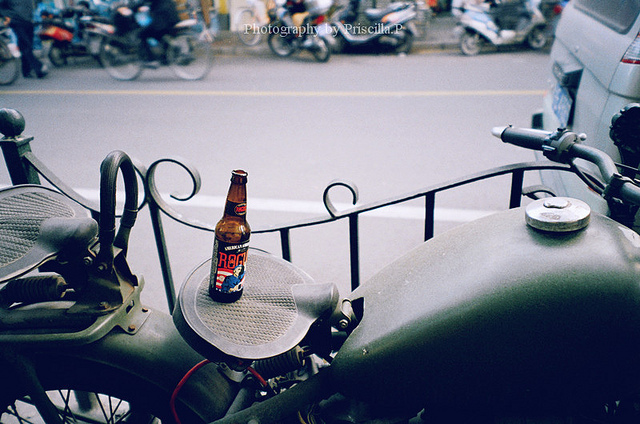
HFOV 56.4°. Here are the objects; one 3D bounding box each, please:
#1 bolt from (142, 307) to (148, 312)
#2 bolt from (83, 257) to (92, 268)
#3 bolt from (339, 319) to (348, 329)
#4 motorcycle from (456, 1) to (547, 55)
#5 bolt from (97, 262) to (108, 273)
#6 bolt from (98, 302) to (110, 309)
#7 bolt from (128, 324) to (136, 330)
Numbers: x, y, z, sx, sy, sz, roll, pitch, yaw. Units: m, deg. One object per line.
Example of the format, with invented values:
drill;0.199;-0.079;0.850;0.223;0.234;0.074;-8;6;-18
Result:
bolt;-0.747;0.417;2.566;0.022;0.010;0.019;2;27;8
bolt;-0.940;0.203;2.426;0.035;0.045;0.014;1;27;7
bolt;0.097;0.445;2.380;0.026;0.028;0.010;3;-2;13
motorcycle;3.479;-3.545;11.520;1.771;0.895;0.694;-14;29;-20
bolt;-0.883;0.226;2.439;0.037;0.040;0.036;-15;19;3
bolt;-0.883;0.383;2.454;0.037;0.026;0.016;-6;27;-6
bolt;-0.780;0.480;2.491;0.018;0.018;0.018;8;-7;-30
